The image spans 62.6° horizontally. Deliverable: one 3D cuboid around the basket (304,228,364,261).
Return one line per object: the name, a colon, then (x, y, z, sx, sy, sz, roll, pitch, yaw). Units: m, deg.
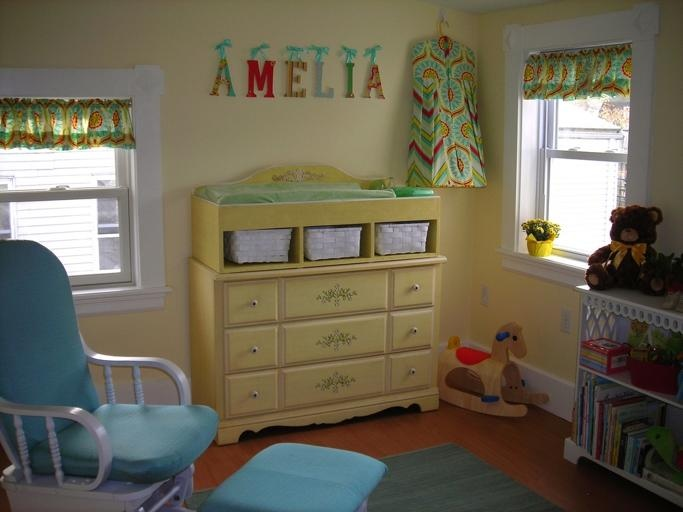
basket: (-0.056, -0.075, 3.467, 0.346, 0.202, 0.093, -2, 13, -10)

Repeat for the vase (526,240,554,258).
vase: (1.351, -0.064, 3.845, 0.129, 0.100, 0.117, -2, 3, -28)

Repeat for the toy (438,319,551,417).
toy: (1.077, 0.793, 3.866, 0.479, 0.435, 0.257, 12, 25, 35)

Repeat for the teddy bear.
teddy bear: (1.574, -0.029, 3.107, 0.466, 0.557, 0.314, 5, 5, 44)

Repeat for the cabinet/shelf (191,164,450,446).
cabinet/shelf: (-0.178, 0.326, 3.462, 1.460, 1.558, 0.602, -4, 9, -24)

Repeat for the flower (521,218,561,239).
flower: (1.357, -0.175, 3.789, 0.160, 0.117, 0.160, 5, 9, 1)

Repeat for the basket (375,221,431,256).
basket: (0.395, -0.120, 3.617, 0.291, 0.166, 0.203, -3, 6, -16)
